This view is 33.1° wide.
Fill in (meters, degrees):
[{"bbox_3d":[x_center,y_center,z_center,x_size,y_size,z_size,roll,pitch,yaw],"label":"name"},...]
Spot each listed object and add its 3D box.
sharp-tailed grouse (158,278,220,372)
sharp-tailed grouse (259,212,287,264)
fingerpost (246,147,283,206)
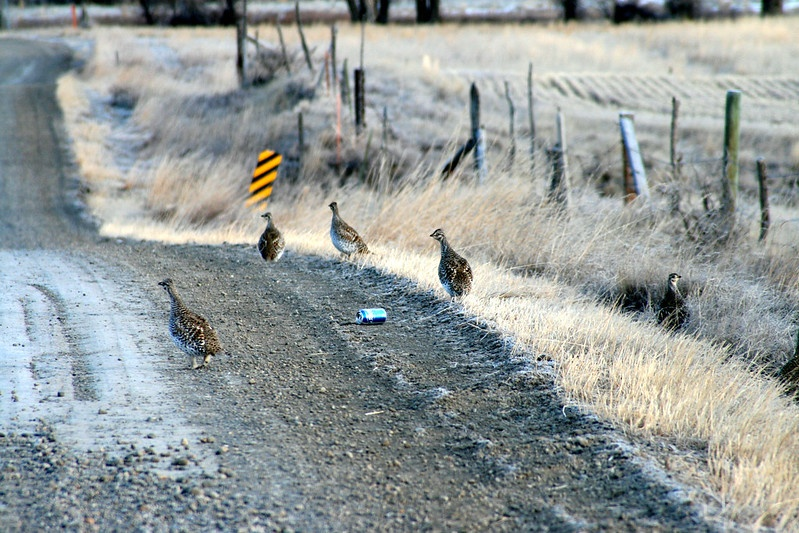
[{"bbox_3d":[-5.012,1.424,32.600,1.377,2.097,0.701,2,14,20],"label":"sharp-tailed grouse"},{"bbox_3d":[-3.341,-0.904,35.775,0.594,1.439,0.919,-2,-22,2],"label":"sharp-tailed grouse"},{"bbox_3d":[-3.952,-2.664,39.576,0.845,1.827,0.838,-7,18,-23],"label":"fingerpost"}]
